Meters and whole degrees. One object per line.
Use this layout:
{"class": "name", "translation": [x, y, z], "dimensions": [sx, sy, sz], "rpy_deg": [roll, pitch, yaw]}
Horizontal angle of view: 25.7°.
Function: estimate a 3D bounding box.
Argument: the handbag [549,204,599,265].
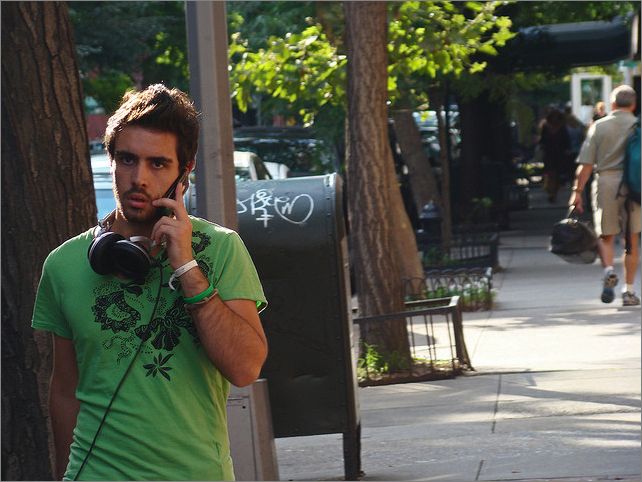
{"class": "handbag", "translation": [2.983, -0.018, 16.468], "dimensions": [0.604, 0.792, 0.548], "rpy_deg": [5, 11, 33]}
